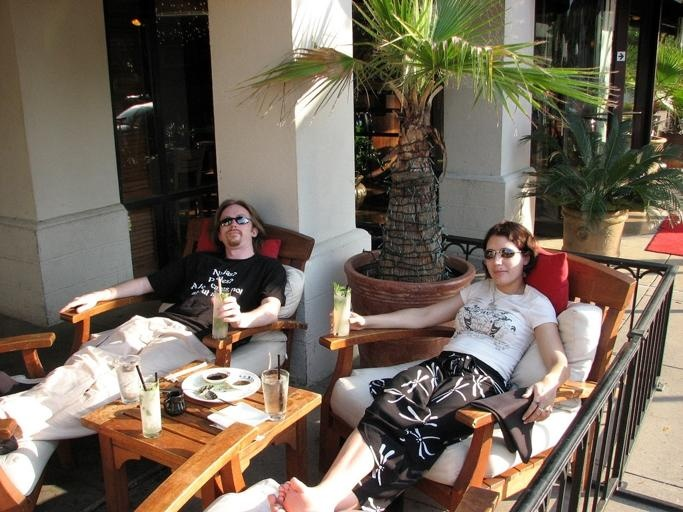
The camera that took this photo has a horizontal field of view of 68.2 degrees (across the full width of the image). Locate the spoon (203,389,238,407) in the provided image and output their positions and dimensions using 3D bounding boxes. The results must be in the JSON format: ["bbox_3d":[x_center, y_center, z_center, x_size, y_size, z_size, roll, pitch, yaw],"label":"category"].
[{"bbox_3d":[-0.574,0.685,2.372,0.188,0.033,0.063,15,37,27],"label":"spoon"}]

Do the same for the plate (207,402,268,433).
[{"bbox_3d":[-0.464,0.726,2.245,0.233,0.027,0.194,12,21,38],"label":"plate"}]

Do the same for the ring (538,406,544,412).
[{"bbox_3d":[0.909,0.698,2.292,0.022,0.016,0.022,-1,17,0],"label":"ring"}]

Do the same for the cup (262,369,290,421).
[{"bbox_3d":[-0.293,0.633,2.248,0.156,0.181,0.157,-1,0,0],"label":"cup"}]
